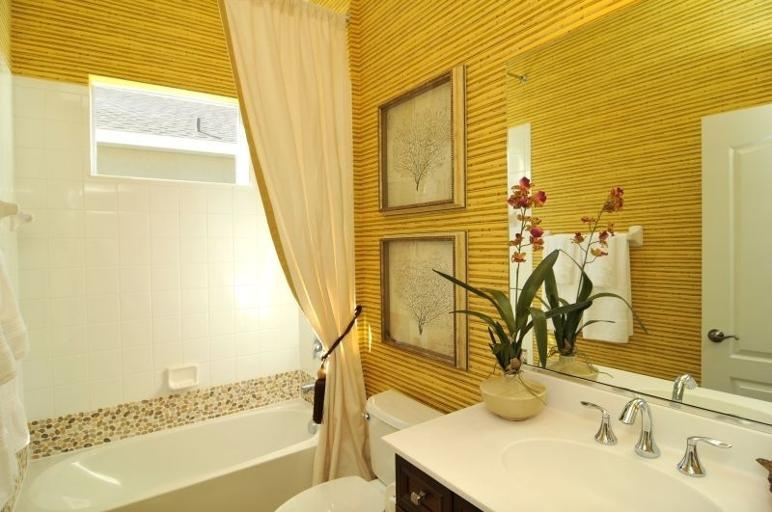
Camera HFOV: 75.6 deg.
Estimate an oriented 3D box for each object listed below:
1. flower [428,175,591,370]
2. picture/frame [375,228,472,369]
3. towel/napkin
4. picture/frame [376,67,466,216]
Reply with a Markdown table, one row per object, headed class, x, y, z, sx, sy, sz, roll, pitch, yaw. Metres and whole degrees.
| class | x | y | z | sx | sy | sz | roll | pitch | yaw |
| --- | --- | --- | --- | --- | --- | --- | --- | --- | --- |
| flower | 0.644 | 0.076 | 2.316 | 0.673 | 0.874 | 0.798 | -7 | 7 | 5 |
| picture/frame | 0.230 | 0.234 | 2.838 | 0.064 | 0.848 | 0.832 | 0 | -3 | -38 |
| towel/napkin | 0.899 | 0.141 | 2.167 | 0.484 | 0.572 | 0.095 | -1 | 0 | 45 |
| picture/frame | 0.215 | -0.654 | 2.815 | 0.096 | 0.854 | 0.911 | 1 | -4 | -36 |
